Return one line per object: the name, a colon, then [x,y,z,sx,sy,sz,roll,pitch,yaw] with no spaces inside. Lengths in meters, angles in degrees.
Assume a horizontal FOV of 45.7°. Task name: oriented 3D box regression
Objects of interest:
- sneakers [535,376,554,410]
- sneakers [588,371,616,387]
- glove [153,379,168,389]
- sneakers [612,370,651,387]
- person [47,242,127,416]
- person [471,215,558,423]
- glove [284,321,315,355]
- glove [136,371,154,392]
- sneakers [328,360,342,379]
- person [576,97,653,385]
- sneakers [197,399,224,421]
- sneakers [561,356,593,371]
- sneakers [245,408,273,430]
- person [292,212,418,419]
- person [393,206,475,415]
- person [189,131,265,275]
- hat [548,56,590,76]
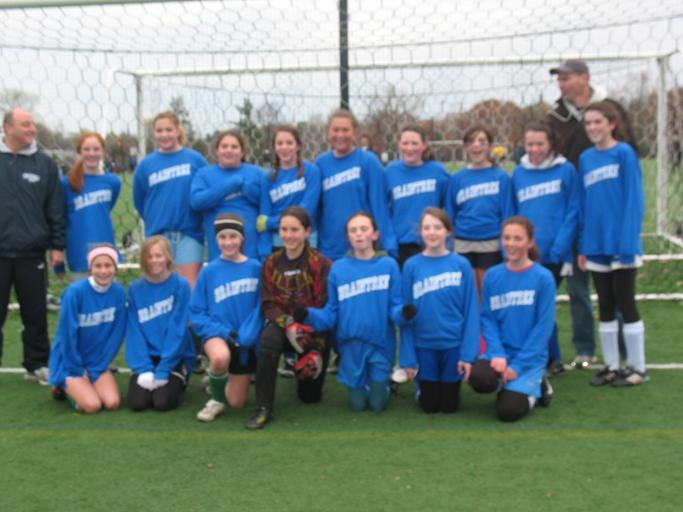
sneakers: [1.634,1.095,6.476,0.096,0.292,0.128,14,-21,15]
sneakers: [2.211,1.018,6.767,0.251,0.100,0.097,-6,4,-25]
glove: [-1.451,1.025,6.476,0.069,0.070,0.024,11,-21,-3]
sneakers: [2.413,1.006,6.697,0.266,0.106,0.144,1,-2,-8]
person: [-2.044,0.575,6.520,0.656,1.293,0.419,-6,7,-18]
person: [1.340,0.473,6.302,0.627,1.514,0.553,-1,7,18]
glove: [-0.317,0.632,6.292,0.171,0.279,0.228,-1,7,24]
glove: [-1.559,1.009,6.478,0.127,0.140,0.075,-5,7,-16]
sneakers: [-0.060,1.014,7.346,0.157,0.151,0.073,23,-11,-41]
person: [2.258,-0.095,6.706,0.516,2.320,0.354,-2,7,17]
sneakers: [-1.033,1.196,6.334,0.217,0.132,0.259,-2,7,11]
sneakers: [2.123,0.960,7.222,0.264,0.110,0.110,4,-6,-23]
sneakers: [-0.620,1.235,6.100,0.089,0.091,0.216,2,2,25]
person: [0.161,0.451,6.371,0.828,1.552,0.418,-3,7,3]
person: [0.800,0.605,6.523,0.631,1.889,0.499,-1,14,5]
person: [-0.970,-0.325,7.193,0.723,1.481,0.484,-6,8,-31]
hat: [2.058,-1.666,7.165,0.283,0.104,0.179,-1,9,-10]
